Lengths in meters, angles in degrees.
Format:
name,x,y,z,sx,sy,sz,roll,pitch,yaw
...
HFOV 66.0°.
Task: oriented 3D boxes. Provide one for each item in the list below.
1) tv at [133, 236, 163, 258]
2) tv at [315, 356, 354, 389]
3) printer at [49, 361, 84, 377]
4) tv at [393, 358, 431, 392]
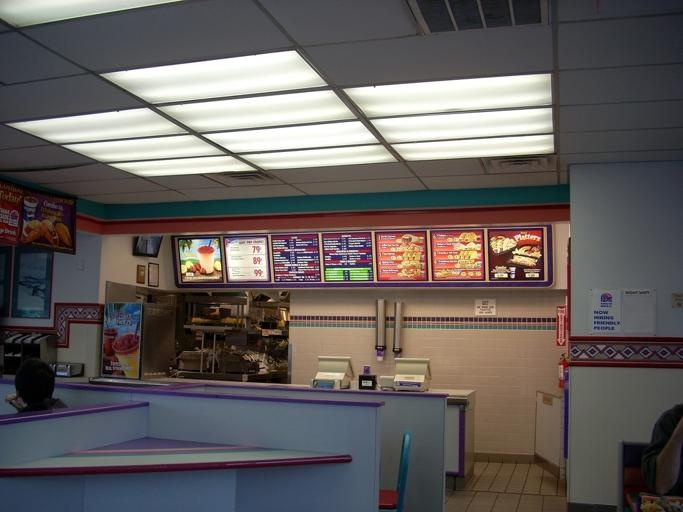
name,x,y,z,sx,sy,sz,roll,pitch,yaw
tv,-3.184,-0.175,8.561,0.039,0.341,0.375,8,3,27
tv,-0.072,1.353,6.228,0.438,0.314,0.463,-5,-5,33
printer,-3.995,1.592,7.708,0.369,0.166,0.251,-1,-6,18
tv,0.818,1.266,5.879,0.382,0.264,0.389,-7,9,29
